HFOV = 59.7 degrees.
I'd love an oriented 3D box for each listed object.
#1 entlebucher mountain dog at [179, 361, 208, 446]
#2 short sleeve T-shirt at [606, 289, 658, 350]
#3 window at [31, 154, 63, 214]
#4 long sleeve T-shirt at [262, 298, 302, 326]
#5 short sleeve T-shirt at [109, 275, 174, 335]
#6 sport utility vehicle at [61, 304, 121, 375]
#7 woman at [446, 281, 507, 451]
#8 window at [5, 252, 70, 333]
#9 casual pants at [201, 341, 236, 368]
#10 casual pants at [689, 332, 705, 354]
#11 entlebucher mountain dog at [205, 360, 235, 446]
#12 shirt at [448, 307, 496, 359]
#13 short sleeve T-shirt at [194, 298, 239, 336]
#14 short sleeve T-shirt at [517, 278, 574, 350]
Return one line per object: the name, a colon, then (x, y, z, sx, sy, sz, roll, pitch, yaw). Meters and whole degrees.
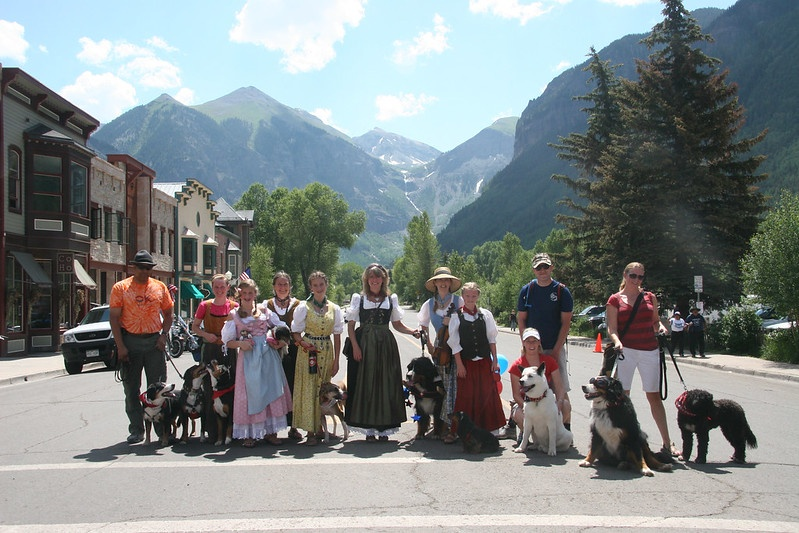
entlebucher mountain dog: (-3.878, 2.577, 13.052, 0.501, 1.452, 0.701, 2, -7, -18)
short sleeve T-shirt: (4.318, 0.973, 12.686, 0.988, 1.096, 0.581, -5, -9, 8)
window: (-15.481, -3.554, 30.489, 1.527, 2.974, 0.141, 4, 31, -23)
long sleeve T-shirt: (-2.334, 0.896, 13.800, 0.814, 0.825, 0.467, -1, -6, -13)
short sleeve T-shirt: (-5.040, 0.770, 13.566, 1.130, 1.136, 0.631, 3, -2, -24)
sport utility vehicle: (-10.349, 2.505, 25.069, 2.003, 2.353, 4.757, -4, -4, -6)
woman: (1.539, 1.864, 13.196, 1.059, 3.180, 0.839, -2, 17, 13)
window: (-15.554, 1.094, 29.556, 1.041, 3.225, 3.306, -1, -2, 5)
casual pants: (-3.493, 1.668, 13.494, 0.693, 0.705, 0.412, 2, -5, 6)
casual pants: (11.605, 3.021, 26.928, 0.513, 0.902, 1.103, -3, -8, 23)
entlebucher mountain dog: (-3.352, 2.580, 13.043, 0.469, 1.547, 0.566, 0, -7, -2)
shirt: (1.421, 1.271, 13.282, 0.924, 1.031, 0.523, -3, 5, -1)
short sleeve T-shirt: (-3.525, 1.059, 13.733, 0.809, 0.841, 0.475, -1, 3, -5)
short sleeve T-shirt: (2.813, 0.943, 13.363, 0.997, 1.402, 0.517, -1, -6, 18)
